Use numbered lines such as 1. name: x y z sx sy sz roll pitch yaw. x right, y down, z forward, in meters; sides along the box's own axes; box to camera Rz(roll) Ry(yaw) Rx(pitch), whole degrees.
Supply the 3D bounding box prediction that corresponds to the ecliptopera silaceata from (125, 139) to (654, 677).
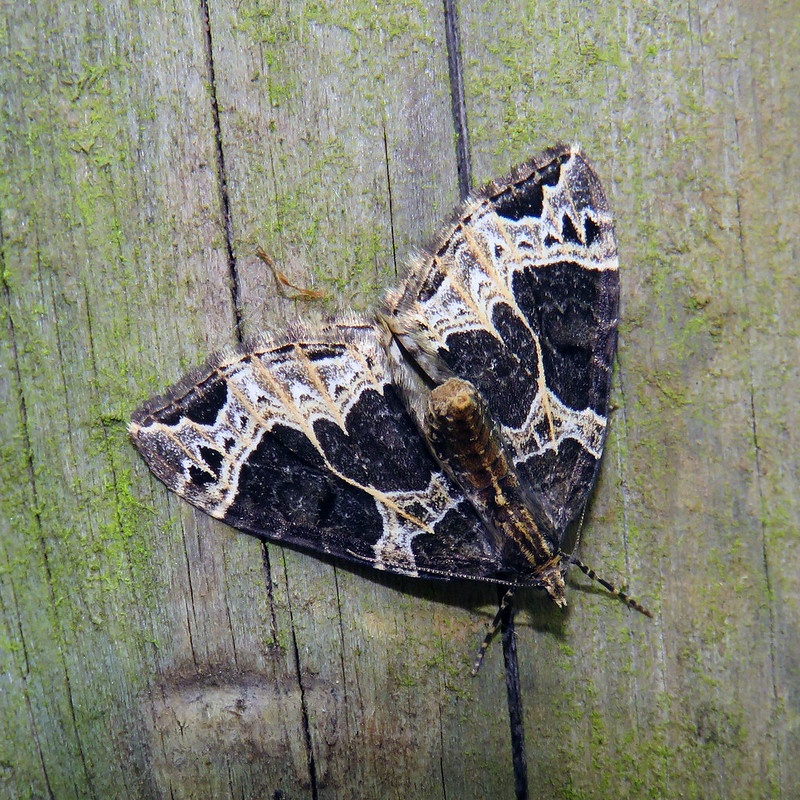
1. ecliptopera silaceata: 0.131 -0.005 5.097 1.619 2.097 1.768 3 15 24
